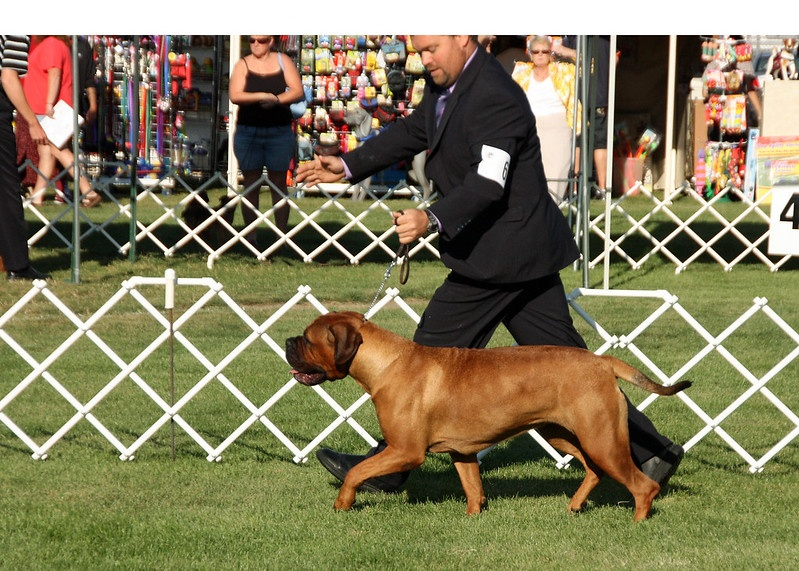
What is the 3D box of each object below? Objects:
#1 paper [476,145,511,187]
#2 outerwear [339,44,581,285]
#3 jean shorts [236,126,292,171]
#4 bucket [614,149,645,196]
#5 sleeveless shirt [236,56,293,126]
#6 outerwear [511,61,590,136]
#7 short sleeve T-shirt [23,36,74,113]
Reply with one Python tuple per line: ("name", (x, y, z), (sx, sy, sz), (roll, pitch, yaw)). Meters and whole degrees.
("paper", (0.678, -0.908, 12.628), (0.173, 0.280, 0.146), (14, -19, -7))
("outerwear", (0.445, -0.988, 13.278), (1.538, 1.687, 1.271), (-7, 14, -15))
("jean shorts", (-1.447, -1.643, 18.297), (0.542, 0.628, 0.439), (-1, 12, -5))
("bucket", (2.944, -1.488, 22.193), (0.538, 0.673, 0.555), (0, 5, 0))
("sleeveless shirt", (-1.415, -2.116, 18.228), (0.629, 1.081, 0.508), (0, 2, -5))
("outerwear", (1.548, -1.922, 17.292), (0.827, 1.062, 0.403), (7, -15, 6))
("short sleeve T-shirt", (-3.824, -2.369, 18.502), (0.447, 0.946, 0.834), (3, 10, -1))
